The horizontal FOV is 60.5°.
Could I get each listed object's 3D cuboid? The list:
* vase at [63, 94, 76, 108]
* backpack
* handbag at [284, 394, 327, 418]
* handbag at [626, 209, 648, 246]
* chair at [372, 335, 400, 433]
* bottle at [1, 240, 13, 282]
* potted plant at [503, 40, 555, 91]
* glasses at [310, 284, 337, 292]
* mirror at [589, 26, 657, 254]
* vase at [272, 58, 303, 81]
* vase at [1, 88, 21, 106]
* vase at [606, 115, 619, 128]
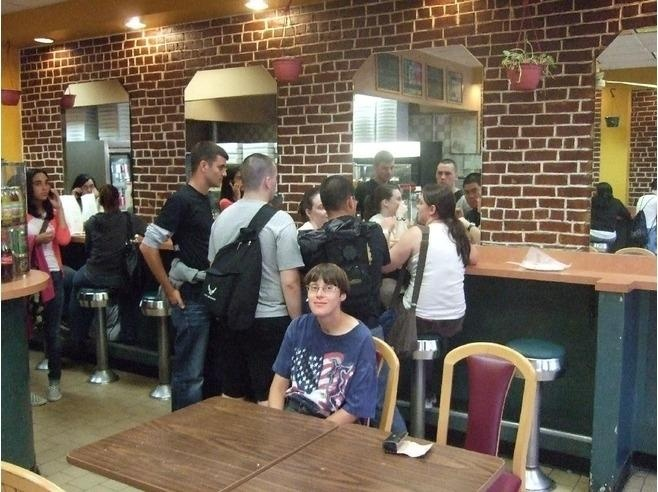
[{"bbox_3d":[-3.081,-1.709,6.639,0.152,0.144,0.153,-4,10,-1],"label":"vase"},{"bbox_3d":[0.114,0.117,3.314,0.269,0.521,0.107,-5,10,-9],"label":"backpack"},{"bbox_3d":[-0.131,0.785,2.773,0.145,0.056,0.110,32,2,29],"label":"handbag"},{"bbox_3d":[2.168,-0.135,3.945,0.117,0.300,0.214,0,8,5],"label":"handbag"},{"bbox_3d":[0.288,0.681,2.767,0.143,0.470,0.270,-3,10,6],"label":"chair"},{"bbox_3d":[-1.954,0.083,3.389,0.030,0.242,0.122,-4,10,-4],"label":"bottle"},{"bbox_3d":[1.469,-1.341,4.129,0.373,0.396,0.496,0,11,21],"label":"potted plant"},{"bbox_3d":[-0.037,0.202,2.741,0.135,0.034,0.044,-1,11,14],"label":"glasses"},{"bbox_3d":[2.106,-0.746,3.993,0.387,1.522,0.319,1,11,25],"label":"mirror"},{"bbox_3d":[-0.355,-1.499,4.863,0.203,0.138,0.209,1,2,22],"label":"vase"},{"bbox_3d":[-3.738,-1.741,6.576,0.168,0.177,0.278,-11,13,-34],"label":"vase"},{"bbox_3d":[2.048,-0.898,4.052,0.084,0.076,0.028,4,6,32],"label":"vase"}]
